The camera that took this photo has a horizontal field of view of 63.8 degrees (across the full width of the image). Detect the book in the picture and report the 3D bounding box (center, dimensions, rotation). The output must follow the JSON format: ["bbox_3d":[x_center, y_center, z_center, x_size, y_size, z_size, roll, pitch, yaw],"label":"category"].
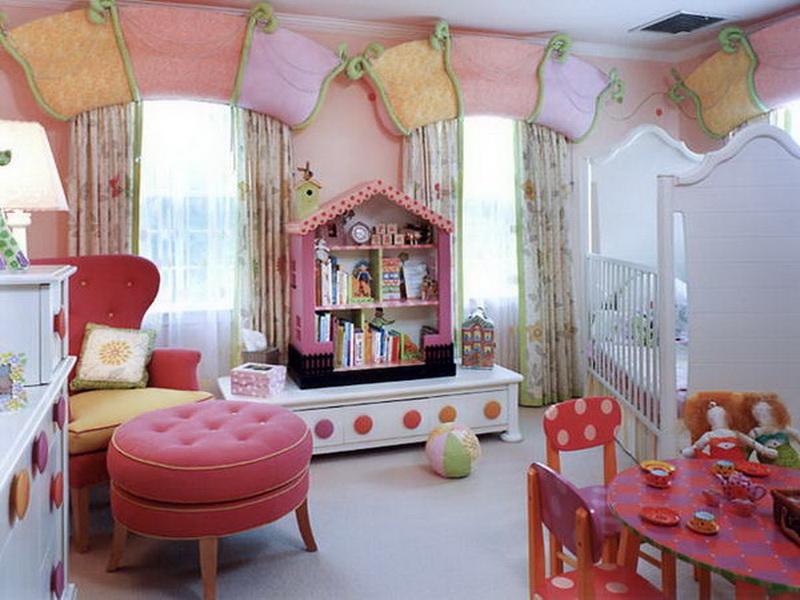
[{"bbox_3d":[-0.218,0.087,4.393,0.702,0.750,0.242,-1,-1,-27],"label":"book"}]

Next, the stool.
[{"bbox_3d":[-0.915,0.746,2.940,0.775,0.550,0.788,9,12,43],"label":"stool"}]

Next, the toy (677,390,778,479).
[{"bbox_3d":[1.500,0.615,2.921,0.305,0.324,0.119,2,-36,13],"label":"toy"}]

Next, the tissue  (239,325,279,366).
[{"bbox_3d":[-0.949,0.317,4.442,0.226,0.460,0.251,0,4,-4],"label":"tissue "}]

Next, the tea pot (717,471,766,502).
[{"bbox_3d":[1.231,0.675,2.326,0.148,0.109,0.093,-1,0,35],"label":"tea pot"}]

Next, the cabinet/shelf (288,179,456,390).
[{"bbox_3d":[-0.215,-0.055,4.380,1.296,1.722,0.528,-1,0,-22],"label":"cabinet/shelf"}]
